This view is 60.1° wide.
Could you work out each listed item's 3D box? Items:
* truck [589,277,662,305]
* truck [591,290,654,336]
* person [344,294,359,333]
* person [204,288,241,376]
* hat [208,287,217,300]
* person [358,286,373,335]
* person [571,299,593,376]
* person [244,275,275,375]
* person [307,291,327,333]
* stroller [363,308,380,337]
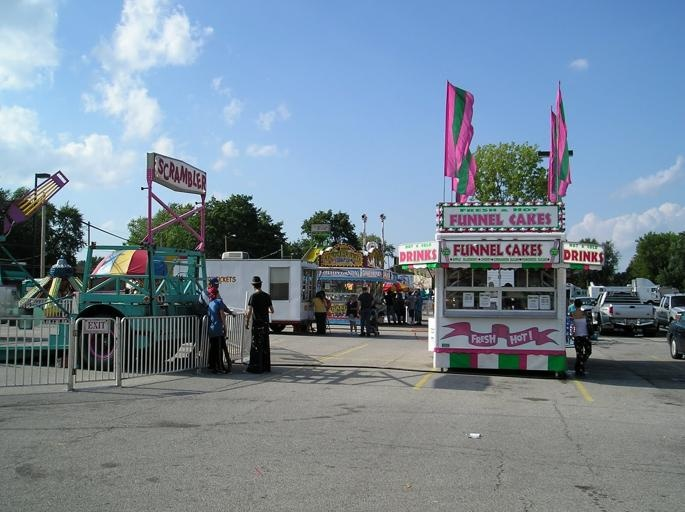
[{"bbox_3d":[22.364,2.659,46.927,5.562,3.294,3.056,-1,0,7],"label":"truck"},{"bbox_3d":[12.733,2.613,27.472,1.326,1.300,2.736,0,-1,6],"label":"truck"},{"bbox_3d":[0.508,2.642,27.041,0.637,1.755,0.502,0,16,-3],"label":"person"},{"bbox_3d":[-2.847,1.684,13.858,0.599,2.012,1.041,1,-1,-14],"label":"person"},{"bbox_3d":[-3.063,0.892,14.031,0.201,0.282,0.281,-3,6,1],"label":"hat"},{"bbox_3d":[1.006,2.361,25.297,0.556,2.049,1.066,1,-1,2],"label":"person"},{"bbox_3d":[5.855,1.993,14.563,0.415,1.798,1.211,0,-2,23],"label":"person"},{"bbox_3d":[-1.936,1.606,13.875,0.605,2.211,1.422,1,-1,-9],"label":"person"},{"bbox_3d":[-0.993,2.500,26.367,0.670,1.898,1.448,1,-2,-2],"label":"person"},{"bbox_3d":[1.241,2.872,25.525,0.692,1.176,1.090,-1,-13,4],"label":"stroller"}]
